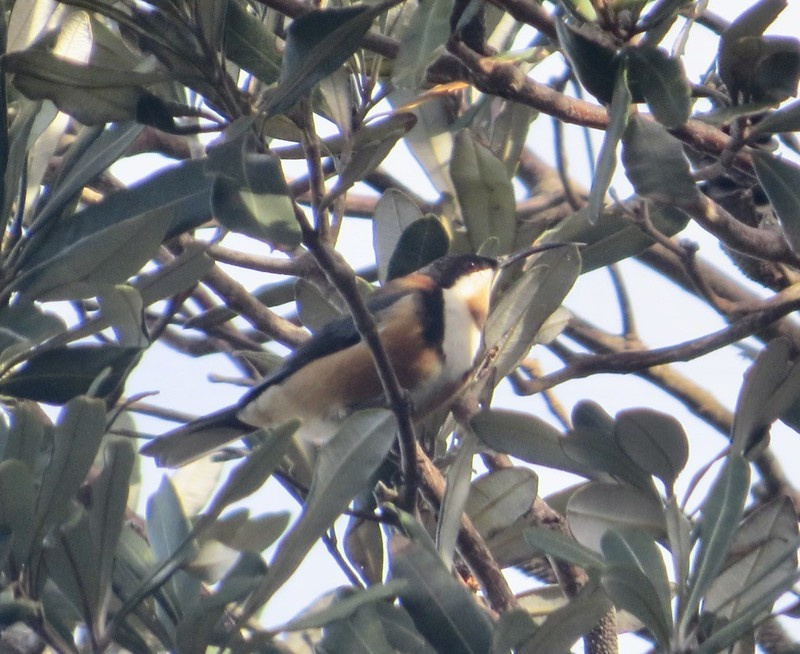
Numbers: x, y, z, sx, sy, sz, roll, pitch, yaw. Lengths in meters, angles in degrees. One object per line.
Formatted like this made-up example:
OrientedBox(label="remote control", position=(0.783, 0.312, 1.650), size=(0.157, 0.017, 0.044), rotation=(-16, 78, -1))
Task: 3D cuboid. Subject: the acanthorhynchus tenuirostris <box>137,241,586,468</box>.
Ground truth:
OrientedBox(label="acanthorhynchus tenuirostris", position=(-0.028, 0.035, 2.209), size=(0.378, 0.201, 0.141), rotation=(-10, -38, -5))
